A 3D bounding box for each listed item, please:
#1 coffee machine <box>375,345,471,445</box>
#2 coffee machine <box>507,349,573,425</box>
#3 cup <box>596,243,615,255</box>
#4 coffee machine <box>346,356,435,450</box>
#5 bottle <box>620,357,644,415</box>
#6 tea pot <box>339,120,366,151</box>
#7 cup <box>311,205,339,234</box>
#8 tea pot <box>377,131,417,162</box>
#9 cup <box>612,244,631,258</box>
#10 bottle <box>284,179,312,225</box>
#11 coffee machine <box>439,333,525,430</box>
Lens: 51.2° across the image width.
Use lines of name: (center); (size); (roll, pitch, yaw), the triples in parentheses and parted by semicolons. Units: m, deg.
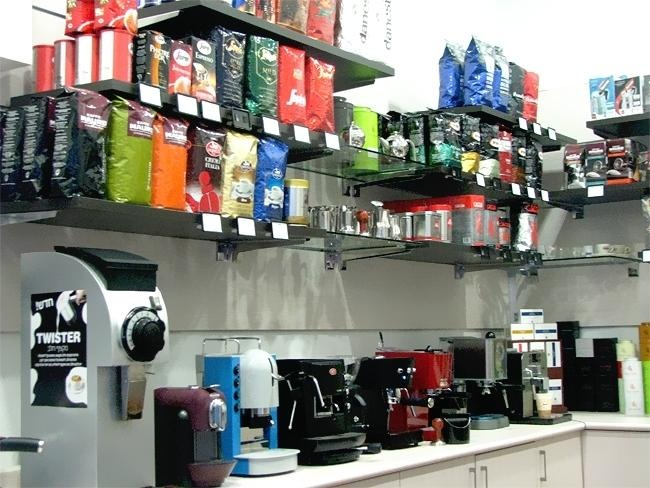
coffee machine: (0.535, 0.768, 3.429); (0.583, 0.474, 0.344); (-9, -12, 41)
coffee machine: (1.232, 0.844, 4.217); (0.415, 0.464, 0.539); (-8, -12, 36)
cup: (1.839, 0.038, 4.479); (0.092, 0.060, 0.089); (1, -3, 0)
coffee machine: (0.311, 0.750, 3.250); (0.482, 0.496, 0.392); (-10, -12, 38)
bottle: (1.976, 0.916, 4.346); (0.123, 0.350, 0.059); (-3, -7, 18)
tea pot: (0.135, -0.527, 3.321); (0.140, 0.143, 0.129); (-3, -16, -1)
cup: (-0.004, -0.121, 3.292); (0.138, 0.122, 0.126); (2, -3, 0)
tea pot: (0.410, -0.531, 3.676); (0.220, 0.130, 0.143); (-2, 2, 24)
cup: (1.929, 0.044, 4.449); (0.131, 0.077, 0.076); (4, -1, -8)
bottle: (-0.124, -0.185, 3.020); (0.115, 0.208, 0.056); (2, -7, -19)
coffee machine: (0.920, 0.780, 3.929); (0.569, 0.636, 0.467); (-3, -5, 24)
